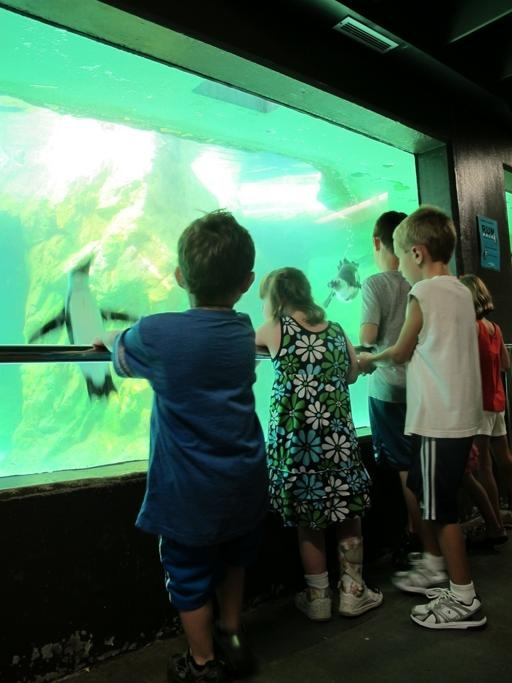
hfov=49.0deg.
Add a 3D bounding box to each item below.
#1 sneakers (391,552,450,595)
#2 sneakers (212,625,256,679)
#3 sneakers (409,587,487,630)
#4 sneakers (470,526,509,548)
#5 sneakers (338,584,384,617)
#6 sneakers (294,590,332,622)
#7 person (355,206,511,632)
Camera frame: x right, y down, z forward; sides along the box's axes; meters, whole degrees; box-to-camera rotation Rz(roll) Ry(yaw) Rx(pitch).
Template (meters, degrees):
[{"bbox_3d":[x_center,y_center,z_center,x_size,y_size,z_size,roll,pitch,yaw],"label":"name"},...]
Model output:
[{"bbox_3d":[0.638,0.974,2.324,0.105,0.115,0.268,5,-18,-44],"label":"sneakers"},{"bbox_3d":[-0.066,0.976,1.805,0.073,0.077,0.181,-3,21,-14],"label":"sneakers"},{"bbox_3d":[0.684,0.964,2.034,0.299,0.114,0.133,-3,47,8],"label":"sneakers"},{"bbox_3d":[1.160,1.008,2.879,0.247,0.105,0.083,-17,23,36],"label":"sneakers"},{"bbox_3d":[0.404,1.007,2.213,0.221,0.088,0.078,3,-7,-40],"label":"sneakers"},{"bbox_3d":[0.229,0.993,2.127,0.075,0.070,0.174,0,-5,-5],"label":"sneakers"},{"bbox_3d":[0.693,0.259,2.184,0.338,1.601,0.523,3,3,-15],"label":"person"}]
